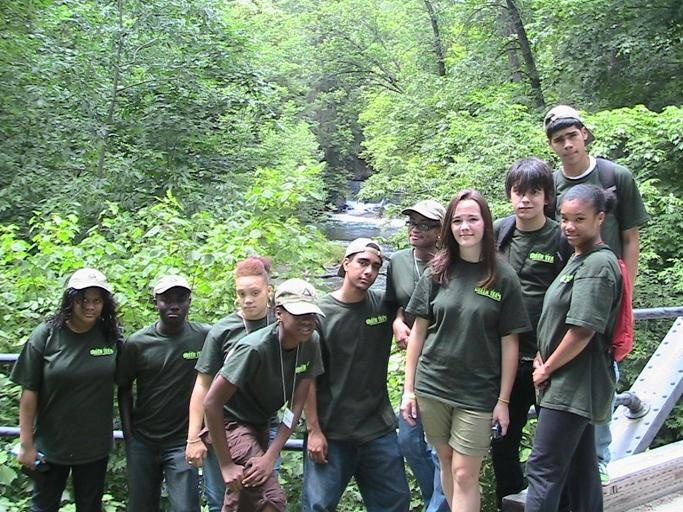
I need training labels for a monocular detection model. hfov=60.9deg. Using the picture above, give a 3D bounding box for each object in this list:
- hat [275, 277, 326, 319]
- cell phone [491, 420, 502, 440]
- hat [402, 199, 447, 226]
[{"bbox_3d":[-0.301,0.270,4.168,0.356,0.229,0.464,6,4,-37],"label":"hat"},{"bbox_3d":[1.054,1.192,3.971,0.049,0.128,0.087,-7,7,-32],"label":"cell phone"},{"bbox_3d":[0.719,-0.327,4.691,0.281,0.134,0.202,23,-12,-41],"label":"hat"}]
